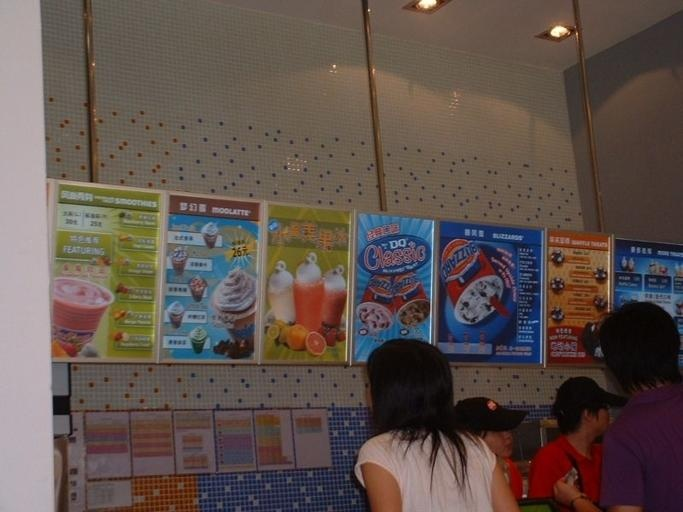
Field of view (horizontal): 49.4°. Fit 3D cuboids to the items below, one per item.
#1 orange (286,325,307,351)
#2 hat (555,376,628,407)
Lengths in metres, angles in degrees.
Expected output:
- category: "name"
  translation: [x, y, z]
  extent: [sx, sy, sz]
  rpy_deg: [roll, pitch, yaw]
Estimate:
- category: "orange"
  translation: [-0.204, 0.373, 3.372]
  extent: [0.094, 0.131, 0.102]
  rpy_deg: [-1, 0, -16]
- category: "hat"
  translation: [1.011, 0.555, 2.963]
  extent: [0.215, 0.103, 0.147]
  rpy_deg: [3, -10, -3]
